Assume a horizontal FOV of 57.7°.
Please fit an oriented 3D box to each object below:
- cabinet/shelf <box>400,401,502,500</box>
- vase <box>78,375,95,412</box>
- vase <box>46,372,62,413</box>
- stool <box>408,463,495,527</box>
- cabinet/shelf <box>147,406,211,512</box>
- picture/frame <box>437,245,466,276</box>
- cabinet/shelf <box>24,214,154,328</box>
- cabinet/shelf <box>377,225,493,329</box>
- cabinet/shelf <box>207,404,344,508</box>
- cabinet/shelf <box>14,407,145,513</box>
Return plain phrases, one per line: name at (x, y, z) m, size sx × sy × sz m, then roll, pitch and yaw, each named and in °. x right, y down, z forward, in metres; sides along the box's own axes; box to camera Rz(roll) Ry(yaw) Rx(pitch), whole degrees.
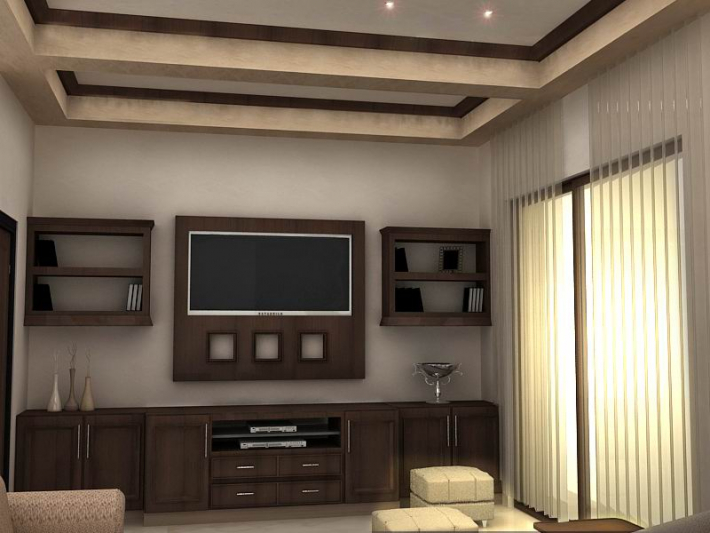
cabinet/shelf at (0.906, 1.816, 6.617) m, size 1.084 × 1.043 × 0.609 m, roll 0°, pitch 8°, yaw -6°
vase at (-2.516, 1.173, 6.038) m, size 0.133 × 0.313 × 0.404 m, roll 2°, pitch -8°, yaw -23°
vase at (-2.786, 1.159, 5.973) m, size 0.121 × 0.337 × 0.389 m, roll 2°, pitch -9°, yaw -24°
stool at (0.860, 1.929, 5.711) m, size 0.519 × 0.392 × 0.533 m, roll 1°, pitch -7°, yaw -12°
cabinet/shelf at (-1.600, 1.761, 6.066) m, size 0.646 × 0.901 × 0.632 m, roll 0°, pitch 0°, yaw -5°
picture/frame at (1.008, -0.070, 6.835) m, size 0.251 × 0.281 × 0.066 m, roll 0°, pitch -7°, yaw -5°
cabinet/shelf at (-2.578, 0.062, 6.116) m, size 1.006 × 0.989 × 0.345 m, roll 1°, pitch -7°, yaw -9°
cabinet/shelf at (0.797, 0.120, 6.710) m, size 1.018 × 0.929 × 0.301 m, roll 1°, pitch -2°, yaw -7°
cabinet/shelf at (-0.744, 1.847, 6.166) m, size 1.246 × 0.873 × 0.443 m, roll 0°, pitch -22°, yaw -9°
cabinet/shelf at (-2.468, 1.760, 5.898) m, size 1.071 × 0.928 × 0.412 m, roll 2°, pitch 3°, yaw -20°
